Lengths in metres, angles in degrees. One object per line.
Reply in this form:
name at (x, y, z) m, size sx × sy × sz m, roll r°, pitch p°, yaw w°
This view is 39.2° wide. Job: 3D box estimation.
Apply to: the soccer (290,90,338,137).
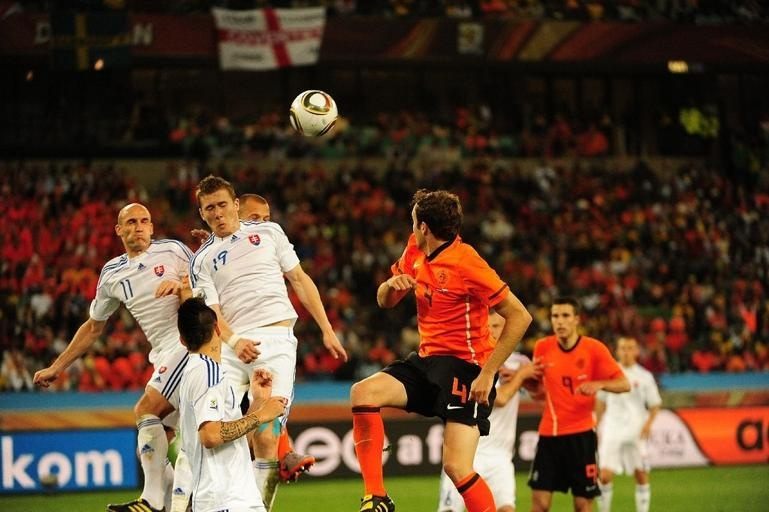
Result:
soccer at (-0.853, -1.705, 13.034) m, size 0.487 × 0.563 × 0.537 m, roll 8°, pitch 30°, yaw -8°
